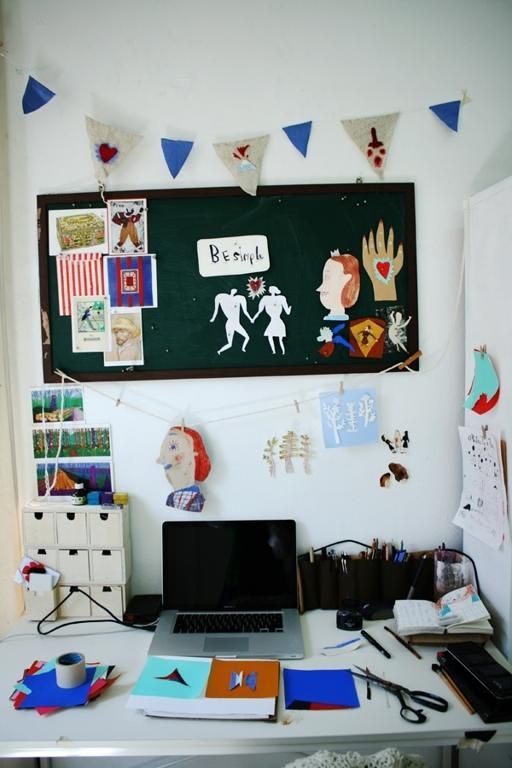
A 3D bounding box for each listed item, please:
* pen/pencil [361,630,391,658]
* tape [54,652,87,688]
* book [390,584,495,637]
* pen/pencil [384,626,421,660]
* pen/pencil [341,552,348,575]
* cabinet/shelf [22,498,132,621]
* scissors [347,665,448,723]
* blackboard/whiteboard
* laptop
[{"bbox_3d":[0.268,0.583,1.425,0.017,0.014,0.096,0,9,-18],"label":"pen/pencil"},{"bbox_3d":[-0.374,0.575,1.281,0.055,0.045,0.054,5,-16,-42],"label":"tape"},{"bbox_3d":[0.424,0.526,1.465,0.205,0.070,0.165,-17,6,2],"label":"book"},{"bbox_3d":[0.328,0.582,1.436,0.018,0.015,0.170,1,8,-13],"label":"pen/pencil"},{"bbox_3d":[0.222,0.452,1.591,0.011,0.044,0.010,0,-7,-37],"label":"pen/pencil"},{"bbox_3d":[-0.445,0.401,1.630,0.257,0.322,0.204,-1,-1,1],"label":"cabinet/shelf"},{"bbox_3d":[0.272,0.612,1.252,0.186,0.027,0.096,8,10,38],"label":"scissors"},{"bbox_3d":[-0.066,-0.254,1.603,0.954,0.480,0.081,-1,11,0],"label":"blackboard/whiteboard"},{"bbox_3d":[-0.065,0.459,1.468,0.341,0.215,0.295,-1,3,-1],"label":"laptop"}]
